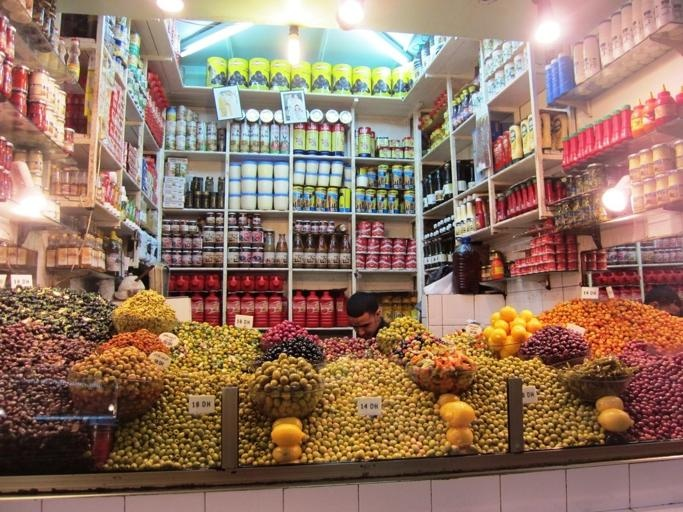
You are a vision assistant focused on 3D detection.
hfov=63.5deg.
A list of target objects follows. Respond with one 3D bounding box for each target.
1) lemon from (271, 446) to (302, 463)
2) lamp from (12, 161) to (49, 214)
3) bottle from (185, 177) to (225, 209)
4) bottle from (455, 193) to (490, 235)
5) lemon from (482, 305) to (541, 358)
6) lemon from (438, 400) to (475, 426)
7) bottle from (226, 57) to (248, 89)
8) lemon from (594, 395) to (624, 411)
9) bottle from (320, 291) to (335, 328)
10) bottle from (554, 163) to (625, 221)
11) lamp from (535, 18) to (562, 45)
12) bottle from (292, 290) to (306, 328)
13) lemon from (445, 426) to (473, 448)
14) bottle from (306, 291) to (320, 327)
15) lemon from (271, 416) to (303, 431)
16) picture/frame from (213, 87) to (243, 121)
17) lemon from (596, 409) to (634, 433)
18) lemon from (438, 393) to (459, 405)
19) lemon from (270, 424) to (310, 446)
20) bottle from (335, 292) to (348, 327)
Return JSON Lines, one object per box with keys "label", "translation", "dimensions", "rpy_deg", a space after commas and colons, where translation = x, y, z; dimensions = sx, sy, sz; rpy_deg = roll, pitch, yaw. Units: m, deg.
{"label": "lemon", "translation": [-0.213, 0.779, 2.159], "dimensions": [0.078, 0.037, 0.079], "rpy_deg": [3, -3, -9]}
{"label": "lamp", "translation": [-1.711, -0.382, 3.010], "dimensions": [0.118, 0.263, 0.218], "rpy_deg": [-10, -4, 4]}
{"label": "bottle", "translation": [-1.463, -0.666, 5.886], "dimensions": [0.362, 0.303, 0.195], "rpy_deg": [1, -10, 1]}
{"label": "bottle", "translation": [1.169, -0.374, 5.048], "dimensions": [0.356, 0.272, 0.330], "rpy_deg": [1, -13, 0]}
{"label": "lemon", "translation": [0.919, 0.405, 2.989], "dimensions": [0.303, 0.273, 0.404], "rpy_deg": [-4, -10, 21]}
{"label": "lemon", "translation": [0.472, 0.645, 2.276], "dimensions": [0.121, 0.091, 0.062], "rpy_deg": [-1, -50, -3]}
{"label": "bottle", "translation": [-1.077, -1.956, 5.990], "dimensions": [0.314, 0.318, 0.295], "rpy_deg": [0, -9, -2]}
{"label": "lemon", "translation": [1.176, 0.646, 2.415], "dimensions": [0.117, 0.066, 0.029], "rpy_deg": [-1, -10, 2]}
{"label": "bottle", "translation": [-0.153, 0.551, 5.805], "dimensions": [0.150, 0.381, 0.074], "rpy_deg": [2, -10, -11]}
{"label": "bottle", "translation": [1.662, -0.421, 3.662], "dimensions": [0.156, 0.336, 0.394], "rpy_deg": [8, -11, -11]}
{"label": "lamp", "translation": [1.174, -1.277, 3.157], "dimensions": [0.114, 0.083, 0.185], "rpy_deg": [-3, -9, 15]}
{"label": "bottle", "translation": [-0.430, 0.553, 5.779], "dimensions": [0.105, 0.356, 0.181], "rpy_deg": [-5, -11, 25]}
{"label": "lemon", "translation": [0.480, 0.743, 2.263], "dimensions": [0.094, 0.082, 0.086], "rpy_deg": [-1, -34, 0]}
{"label": "bottle", "translation": [-0.301, 0.552, 5.768], "dimensions": [0.141, 0.384, 0.069], "rpy_deg": [1, -10, -5]}
{"label": "lemon", "translation": [-0.227, 0.662, 2.189], "dimensions": [0.098, 0.046, 0.050], "rpy_deg": [3, 28, -6]}
{"label": "picture/frame", "translation": [-1.194, -1.613, 5.809], "dimensions": [0.362, 0.393, 0.041], "rpy_deg": [-5, -2, -6]}
{"label": "lemon", "translation": [1.172, 0.707, 2.379], "dimensions": [0.127, 0.090, 0.089], "rpy_deg": [-1, -21, 7]}
{"label": "lemon", "translation": [0.450, 0.604, 2.341], "dimensions": [0.059, 0.029, 0.057], "rpy_deg": [2, 9, 18]}
{"label": "lemon", "translation": [-0.216, 0.701, 2.155], "dimensions": [0.123, 0.067, 0.065], "rpy_deg": [0, -47, -5]}
{"label": "bottle", "translation": [-0.002, 0.557, 5.832], "dimensions": [0.125, 0.362, 0.119], "rpy_deg": [0, -10, 0]}
